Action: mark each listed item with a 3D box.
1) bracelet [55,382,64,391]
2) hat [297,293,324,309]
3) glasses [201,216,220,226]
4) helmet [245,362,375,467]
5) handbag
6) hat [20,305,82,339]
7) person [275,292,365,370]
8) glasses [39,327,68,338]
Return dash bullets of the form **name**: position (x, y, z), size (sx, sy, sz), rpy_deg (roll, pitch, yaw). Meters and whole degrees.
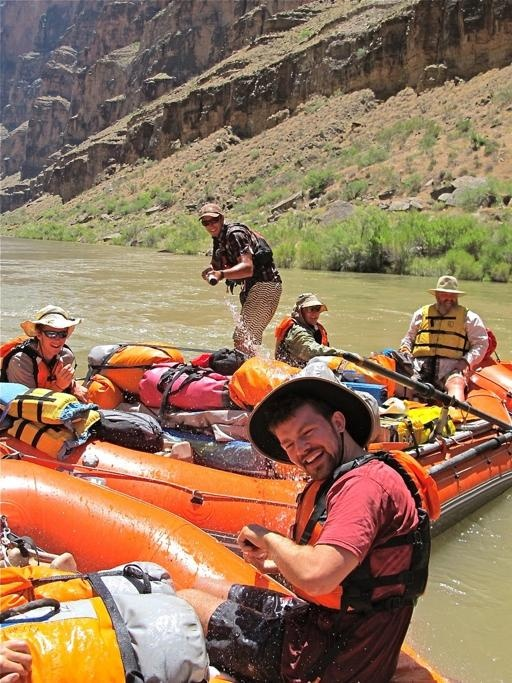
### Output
- **bracelet**: position (-1.183, 0.265, 4.614), size (0.057, 0.062, 0.036), rpy_deg (-7, 9, 18)
- **hat**: position (0.378, -0.299, 5.375), size (0.132, 0.076, 0.174), rpy_deg (5, -4, -24)
- **glasses**: position (-0.378, -0.974, 6.144), size (0.100, 0.045, 0.109), rpy_deg (-8, 25, 22)
- **helmet**: position (0.167, 0.189, 2.389), size (0.377, 0.318, 0.102), rpy_deg (31, 31, -23)
- **handbag**: position (-0.489, 0.308, 4.945), size (1.009, 0.312, 0.759), rpy_deg (2, 4, 20)
- **hat**: position (-1.254, -0.136, 4.630), size (0.267, 0.108, 0.273), rpy_deg (-9, -19, -14)
- **person**: position (0.361, -0.090, 5.475), size (0.558, 0.652, 0.511), rpy_deg (4, 21, 26)
- **glasses**: position (-1.189, -0.050, 4.524), size (0.159, 0.069, 0.098), rpy_deg (-3, 6, -19)
